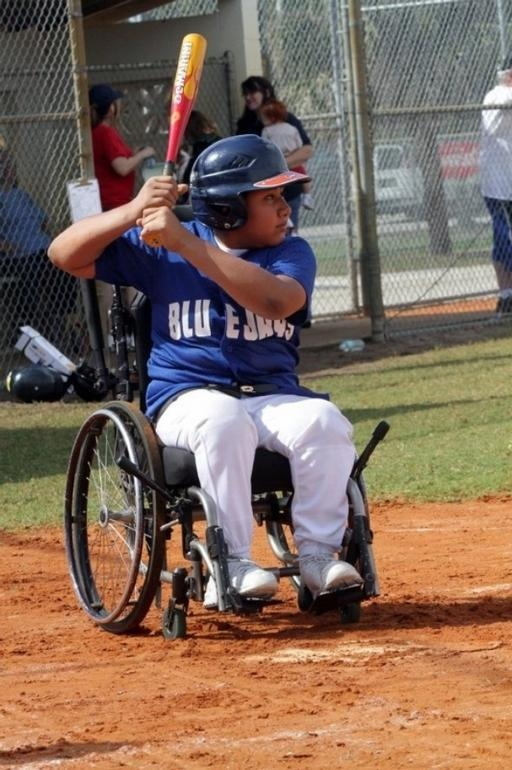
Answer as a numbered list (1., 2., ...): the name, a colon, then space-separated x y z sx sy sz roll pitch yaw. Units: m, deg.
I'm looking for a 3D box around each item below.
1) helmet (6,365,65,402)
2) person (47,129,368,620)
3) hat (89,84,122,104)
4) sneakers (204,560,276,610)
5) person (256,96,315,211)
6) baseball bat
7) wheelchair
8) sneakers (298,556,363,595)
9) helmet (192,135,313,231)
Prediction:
1. helmet: -1.740 0.010 6.551 0.378 0.271 0.278 6 -9 -37
2. person: -0.122 -0.065 2.241 0.722 1.253 0.532 -5 -3 5
3. hat: -1.184 -2.287 6.574 0.236 0.123 0.169 -14 38 -23
4. sneakers: -0.046 0.490 2.020 0.086 0.078 0.197 6 -15 -35
5. person: 0.299 -2.052 7.522 0.388 1.092 0.365 -14 32 0
6. baseball bat: -0.245 -0.744 2.490 0.095 0.657 0.092 6 -11 9
7. wheelchair: -0.118 0.121 2.438 0.759 1.130 0.860 5 -10 -43
8. sneakers: 0.193 0.483 2.081 0.147 0.069 0.176 -4 -3 -6
9. helmet: -0.018 -0.565 2.322 0.325 0.247 0.252 1 20 6
